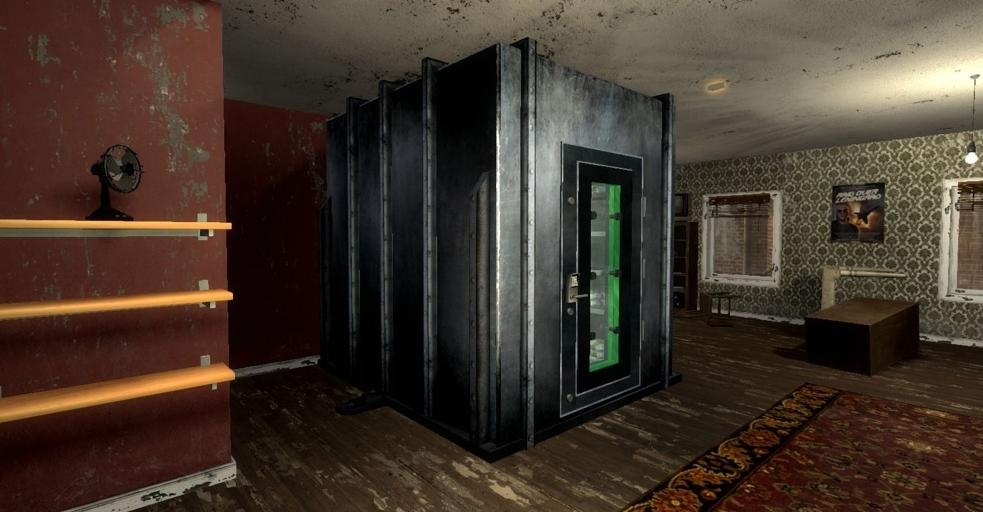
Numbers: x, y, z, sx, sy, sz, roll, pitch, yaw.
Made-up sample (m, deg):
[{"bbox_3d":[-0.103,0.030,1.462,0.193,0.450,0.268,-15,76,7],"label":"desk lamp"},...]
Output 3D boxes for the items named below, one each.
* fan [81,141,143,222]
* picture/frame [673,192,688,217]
[{"bbox_3d":[-4.012,-0.799,6.116,0.564,0.795,0.428,-6,15,-24],"label":"fan"},{"bbox_3d":[4.121,-1.141,12.457,0.292,0.508,0.215,5,15,21],"label":"picture/frame"}]
